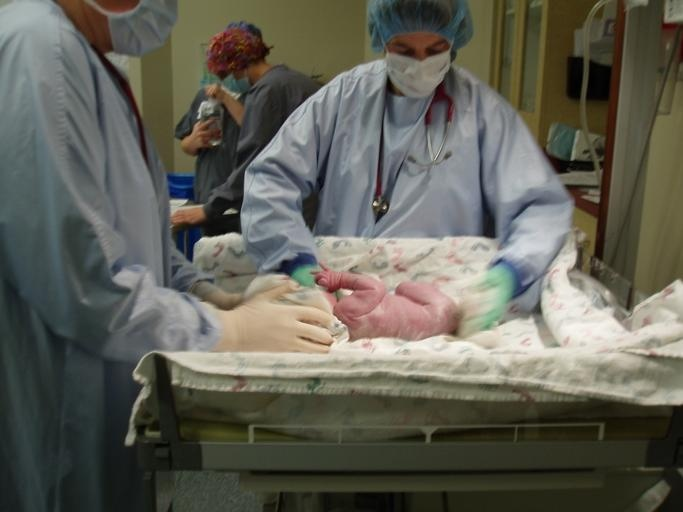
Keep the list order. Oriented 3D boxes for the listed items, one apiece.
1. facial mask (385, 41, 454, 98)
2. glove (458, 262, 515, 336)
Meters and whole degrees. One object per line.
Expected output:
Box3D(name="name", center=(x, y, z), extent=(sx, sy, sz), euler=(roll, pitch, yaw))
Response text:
Box3D(name="facial mask", center=(0.229, -0.546, 2.126), extent=(0.185, 0.146, 0.099), euler=(0, 18, 5))
Box3D(name="glove", center=(0.371, 0.113, 1.828), extent=(0.212, 0.069, 0.105), euler=(-48, 33, -19))
